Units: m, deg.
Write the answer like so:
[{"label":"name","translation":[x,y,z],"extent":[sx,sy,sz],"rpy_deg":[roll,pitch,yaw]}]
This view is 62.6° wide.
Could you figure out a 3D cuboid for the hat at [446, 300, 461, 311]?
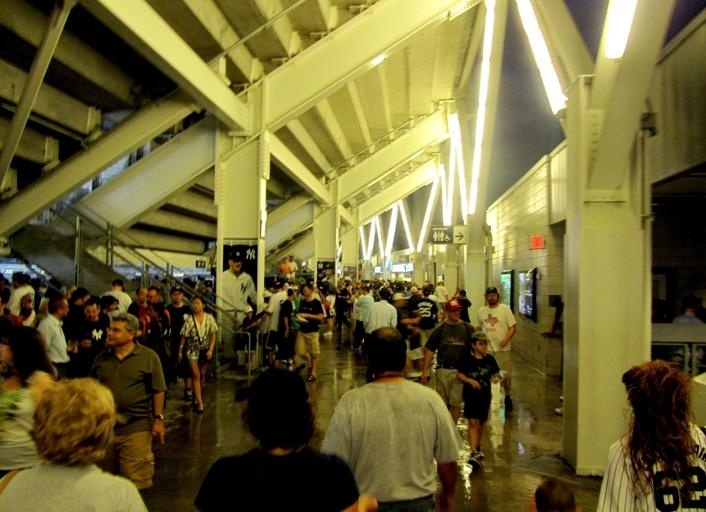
[{"label":"hat","translation":[1.264,0.642,7.420],"extent":[0.151,0.123,0.246],"rpy_deg":[-9,-9,-10]}]

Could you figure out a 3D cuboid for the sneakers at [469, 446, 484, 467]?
[{"label":"sneakers","translation":[1.544,2.529,7.299],"extent":[0.197,0.257,0.405],"rpy_deg":[0,-12,13]}]

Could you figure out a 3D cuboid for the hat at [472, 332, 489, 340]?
[{"label":"hat","translation":[1.551,0.989,7.146],"extent":[0.180,0.106,0.241],"rpy_deg":[0,-12,16]}]

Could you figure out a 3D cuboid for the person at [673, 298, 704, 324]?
[{"label":"person","translation":[5.193,0.843,8.968],"extent":[0.408,0.467,0.923],"rpy_deg":[-4,-14,31]}]
